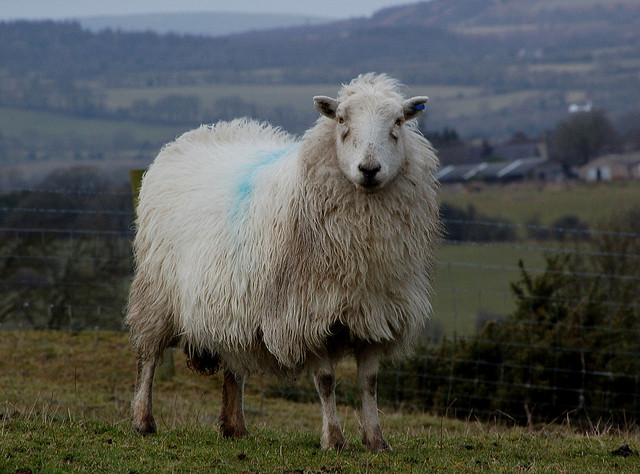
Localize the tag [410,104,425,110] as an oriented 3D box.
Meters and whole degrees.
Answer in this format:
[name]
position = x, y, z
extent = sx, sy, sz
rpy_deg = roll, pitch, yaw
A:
[tag]
position = 1.282, -1.690, 19.162
extent = 0.205, 0.111, 0.064
rpy_deg = -2, 19, -2
